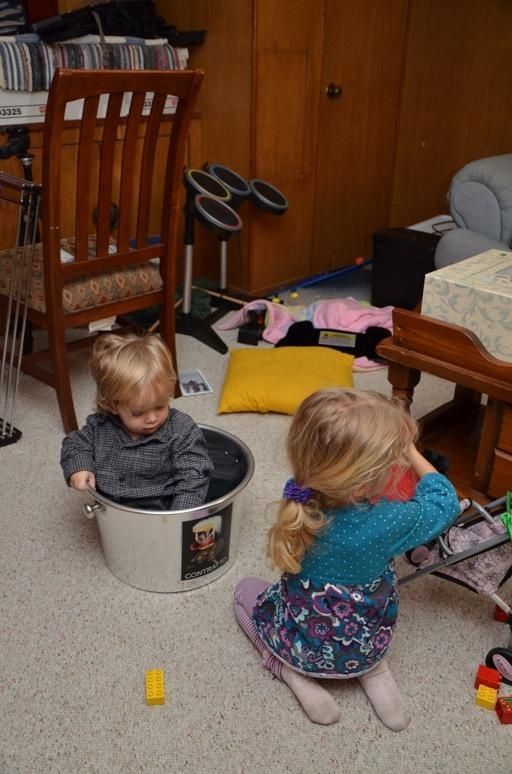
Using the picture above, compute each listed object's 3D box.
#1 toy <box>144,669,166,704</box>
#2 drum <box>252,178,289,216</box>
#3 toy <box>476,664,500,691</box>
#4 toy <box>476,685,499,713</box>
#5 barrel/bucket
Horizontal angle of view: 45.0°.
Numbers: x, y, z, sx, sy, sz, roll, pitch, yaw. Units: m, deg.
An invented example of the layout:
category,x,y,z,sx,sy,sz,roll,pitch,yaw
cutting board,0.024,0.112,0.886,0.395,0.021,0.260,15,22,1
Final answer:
category,x,y,z,sx,sy,sz,roll,pitch,yaw
toy,-0.159,0.474,0.986,0.032,0.015,0.061,-5,37,-2
drum,0.053,-0.822,2.663,0.162,0.126,0.190,6,22,6
toy,0.377,0.471,1.007,0.037,0.036,0.037,4,26,16
toy,0.373,0.499,0.994,0.031,0.027,0.028,15,25,26
barrel/bucket,-0.168,0.248,1.270,0.322,0.221,0.347,1,24,0
